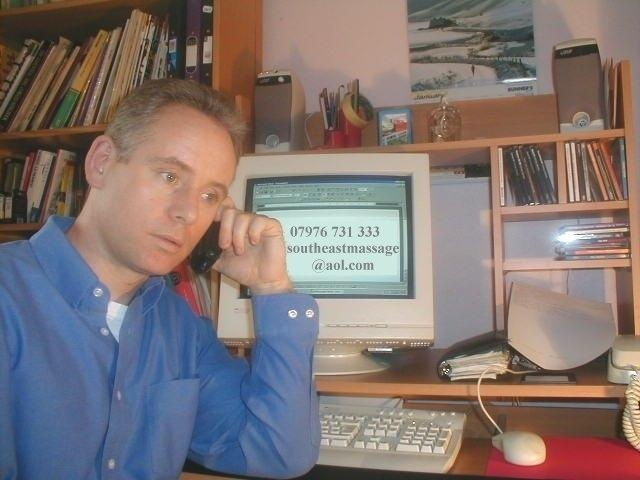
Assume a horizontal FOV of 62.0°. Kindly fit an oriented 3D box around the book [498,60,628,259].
[{"bbox_3d":[0.809,-0.268,1.806,0.415,0.654,0.261,1,3,18],"label":"book"}]

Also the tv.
[{"bbox_3d":[0.040,0.107,1.888,0.687,0.712,0.388,0,-10,3],"label":"tv"}]

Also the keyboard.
[{"bbox_3d":[0.177,0.523,1.412,0.397,0.070,0.270,0,3,14],"label":"keyboard"}]

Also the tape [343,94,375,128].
[{"bbox_3d":[0.147,-0.495,2.058,0.050,0.121,0.120,-25,7,-18],"label":"tape"}]

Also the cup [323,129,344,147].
[{"bbox_3d":[0.054,-0.391,2.057,0.075,0.070,0.075,-1,0,0],"label":"cup"}]

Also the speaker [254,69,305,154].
[{"bbox_3d":[-0.158,-0.501,2.120,0.215,0.311,0.208,-3,11,-12],"label":"speaker"}]

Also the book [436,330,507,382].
[{"bbox_3d":[0.458,0.344,1.586,0.145,0.056,0.151,-20,-1,15],"label":"book"}]

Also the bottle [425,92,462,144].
[{"bbox_3d":[0.479,-0.442,2.053,0.101,0.148,0.104,-15,1,0],"label":"bottle"}]

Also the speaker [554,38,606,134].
[{"bbox_3d":[0.879,-0.529,1.893,0.153,0.314,0.186,-8,11,3],"label":"speaker"}]
